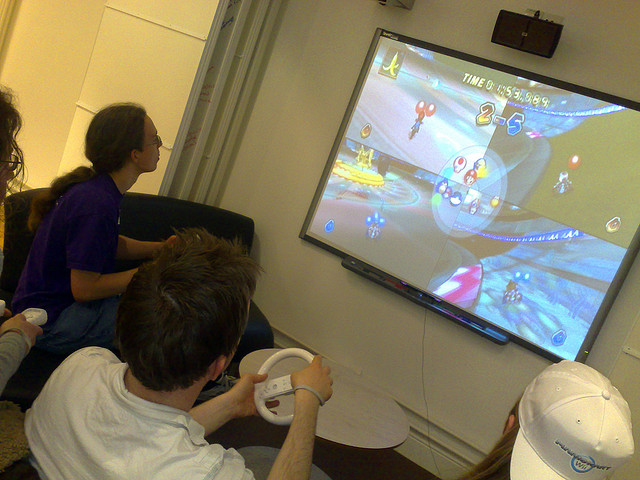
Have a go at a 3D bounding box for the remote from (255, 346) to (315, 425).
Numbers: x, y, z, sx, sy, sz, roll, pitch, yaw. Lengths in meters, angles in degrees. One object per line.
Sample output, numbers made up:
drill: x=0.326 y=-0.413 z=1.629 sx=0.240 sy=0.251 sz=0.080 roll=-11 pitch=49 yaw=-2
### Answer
remote: x=-0.137 y=0.542 z=1.761 sx=0.279 sy=0.064 sz=0.305 roll=-11 pitch=45 yaw=29

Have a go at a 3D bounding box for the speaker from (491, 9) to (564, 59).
speaker: x=1.203 y=-1.191 z=2.735 sx=0.360 sy=0.224 sz=0.082 roll=20 pitch=21 yaw=13

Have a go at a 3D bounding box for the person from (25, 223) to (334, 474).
person: x=-0.560 y=0.404 z=1.775 sx=0.611 sy=1.154 sz=0.667 roll=36 pitch=52 yaw=4
